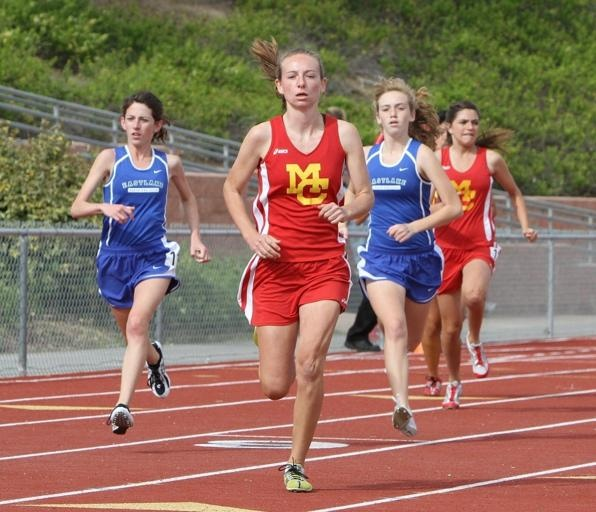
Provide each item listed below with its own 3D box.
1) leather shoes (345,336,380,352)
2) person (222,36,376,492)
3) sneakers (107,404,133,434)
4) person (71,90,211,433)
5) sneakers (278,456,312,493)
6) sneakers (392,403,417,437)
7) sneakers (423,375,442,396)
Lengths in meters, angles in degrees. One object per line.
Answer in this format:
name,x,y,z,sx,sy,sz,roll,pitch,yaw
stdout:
leather shoes,0.845,1.110,11.986,0.410,0.192,0.169,-1,-3,13
person,-0.003,0.048,4.866,0.752,2.229,0.592,2,6,4
sneakers,-1.084,0.996,5.763,0.098,0.127,0.252,5,-38,-13
person,-1.115,0.082,6.565,0.900,2.469,1.577,0,6,-7
sneakers,-0.016,1.116,4.808,0.109,0.082,0.198,16,-6,-15
sneakers,0.579,0.876,5.126,0.077,0.112,0.238,-6,-30,23
sneakers,1.169,1.099,8.046,0.180,0.191,0.421,0,-10,5
